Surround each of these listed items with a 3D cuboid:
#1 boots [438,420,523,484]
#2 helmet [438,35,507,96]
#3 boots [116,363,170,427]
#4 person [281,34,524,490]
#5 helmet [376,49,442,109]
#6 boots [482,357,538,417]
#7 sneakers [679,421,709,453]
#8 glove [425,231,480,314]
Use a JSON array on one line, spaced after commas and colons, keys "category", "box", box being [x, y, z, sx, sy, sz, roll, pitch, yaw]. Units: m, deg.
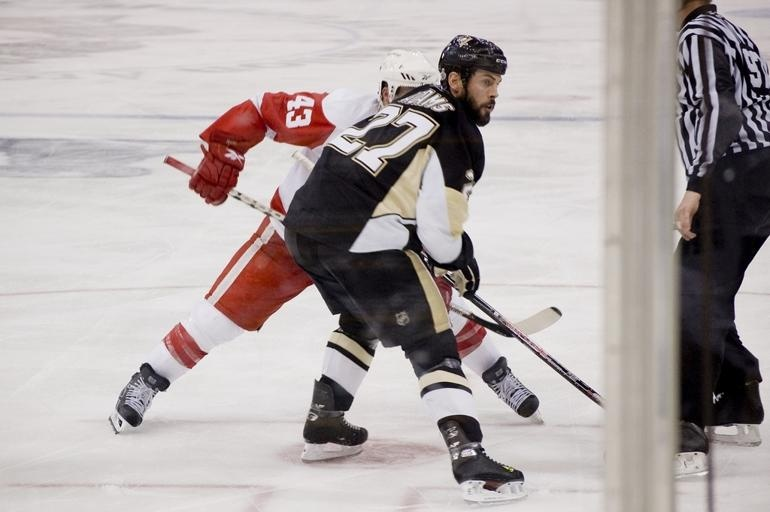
[{"category": "boots", "box": [0.338, 0.729, 4.227, 0.361, 0.258, 0.124, 6, -19, -37]}, {"category": "helmet", "box": [0.317, -0.722, 4.384, 0.264, 0.176, 0.194, -9, 6, 8]}, {"category": "boots", "box": [-0.951, 0.528, 4.667, 0.164, 0.111, 0.332, -33, 18, 14]}, {"category": "person", "box": [0.075, 0.007, 4.255, 0.903, 1.653, 0.368, 4, 6, 9]}, {"category": "helmet", "box": [0.119, -0.705, 4.595, 0.254, 0.204, 0.204, 32, 23, 27]}, {"category": "boots", "box": [0.494, 0.534, 4.670, 0.268, 0.095, 0.124, 38, 3, 25]}, {"category": "sneakers", "box": [1.126, 0.662, 4.264, 0.102, 0.102, 0.065, 3, 6, 7]}, {"category": "glove", "box": [0.290, 0.045, 4.323, 0.120, 0.196, 0.244, -36, -19, -18]}]
